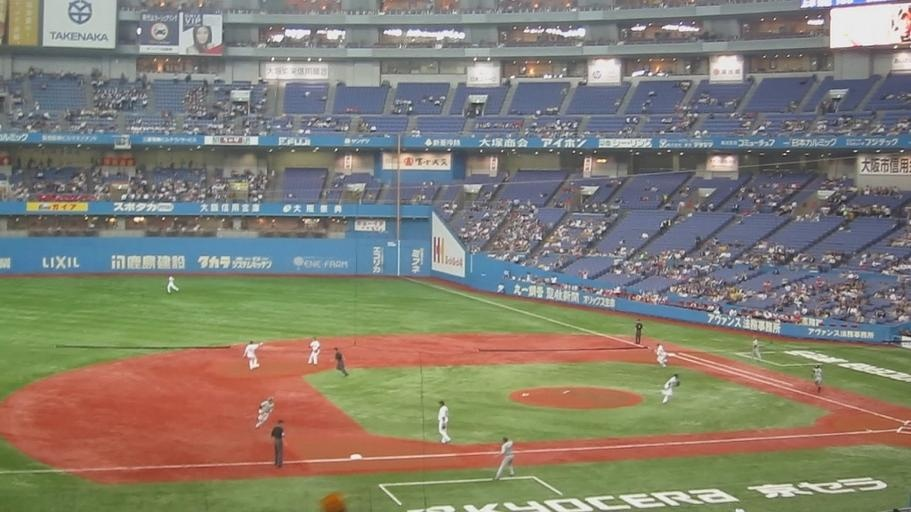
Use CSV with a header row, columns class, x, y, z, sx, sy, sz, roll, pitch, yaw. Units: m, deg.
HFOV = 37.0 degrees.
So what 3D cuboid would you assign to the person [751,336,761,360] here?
class,x,y,z,sx,sy,sz,roll,pitch,yaw
person,28.934,9.102,132.055,0.656,1.762,1.144,-13,19,10
